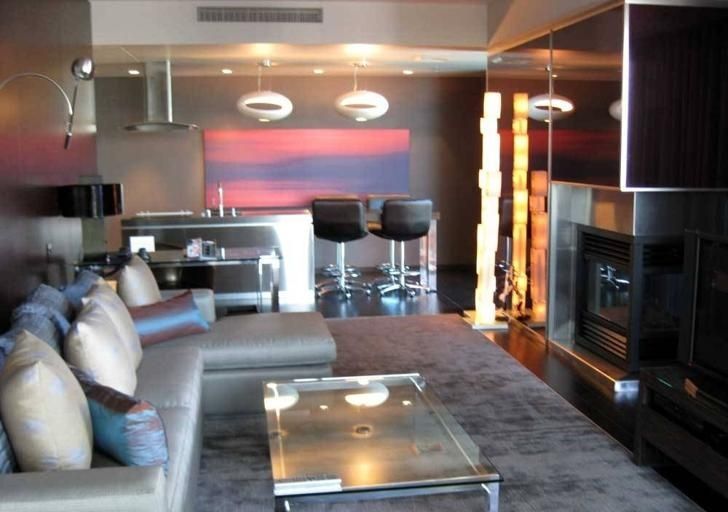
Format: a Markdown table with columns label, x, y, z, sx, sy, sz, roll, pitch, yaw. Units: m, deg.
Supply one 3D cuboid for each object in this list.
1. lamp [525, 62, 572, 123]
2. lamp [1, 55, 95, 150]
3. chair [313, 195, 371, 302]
| label | x | y | z | sx | sy | sz | roll | pitch | yaw |
| --- | --- | --- | --- | --- | --- | --- | --- | --- | --- |
| lamp | 1.660 | -1.354 | 5.262 | 0.454 | 0.610 | 0.238 | -1 | 11 | 18 |
| lamp | -2.669 | -1.350 | 5.216 | 0.576 | 0.773 | 1.679 | -5 | 12 | -17 |
| chair | -0.288 | -0.147 | 7.816 | 0.741 | 1.298 | 1.240 | -2 | 11 | -3 |
